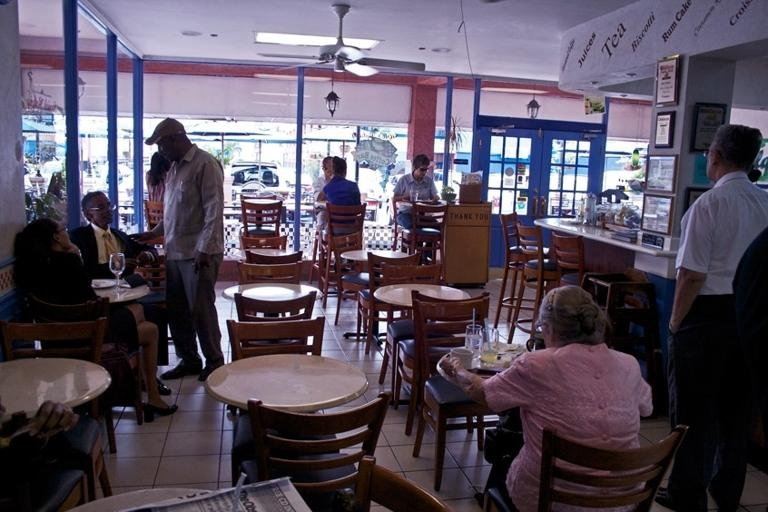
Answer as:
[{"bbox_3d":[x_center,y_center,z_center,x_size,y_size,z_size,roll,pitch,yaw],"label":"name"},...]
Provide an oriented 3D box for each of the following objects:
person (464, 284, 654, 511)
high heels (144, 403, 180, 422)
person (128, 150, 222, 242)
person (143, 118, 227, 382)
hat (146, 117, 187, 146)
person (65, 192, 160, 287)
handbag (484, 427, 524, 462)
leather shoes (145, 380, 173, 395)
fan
[{"bbox_3d":[0.966,0.771,3.193,0.824,1.201,0.375,3,9,22],"label":"person"},{"bbox_3d":[-1.795,1.265,4.881,0.272,0.118,0.096,-6,6,-35],"label":"high heels"},{"bbox_3d":[-1.816,-0.587,5.622,0.715,1.150,0.864,-3,9,-43],"label":"person"},{"bbox_3d":[-1.814,-0.065,5.443,0.710,2.291,0.875,2,-6,-44],"label":"person"},{"bbox_3d":[-1.878,-1.076,5.182,0.311,0.166,0.200,-11,16,-28],"label":"hat"},{"bbox_3d":[-2.454,-0.114,5.420,0.747,0.936,0.606,-6,-1,-19],"label":"person"},{"bbox_3d":[0.714,1.151,3.635,0.229,0.242,0.180,8,0,0],"label":"handbag"},{"bbox_3d":[-1.929,1.148,5.211,0.080,0.100,0.241,-11,15,-37],"label":"leather shoes"},{"bbox_3d":[-0.566,-2.577,7.477,1.630,0.585,2.178,-5,10,-29],"label":"fan"}]
